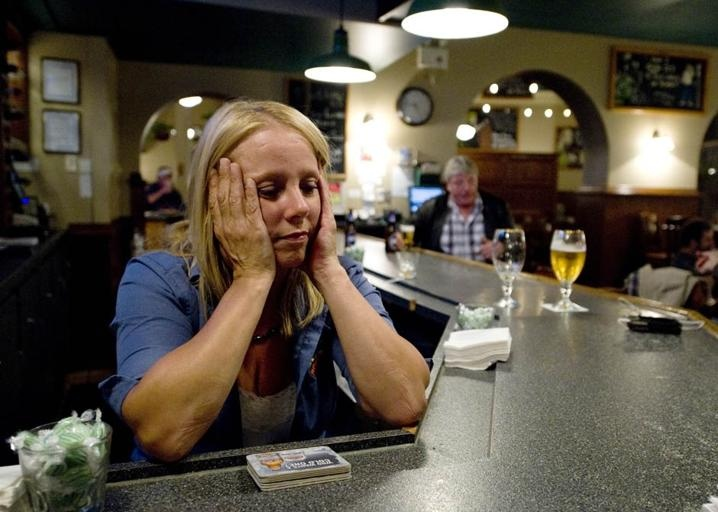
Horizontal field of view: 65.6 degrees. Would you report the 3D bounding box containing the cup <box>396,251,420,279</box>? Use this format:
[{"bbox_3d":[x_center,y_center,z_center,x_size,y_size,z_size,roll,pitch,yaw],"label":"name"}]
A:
[{"bbox_3d":[0.230,0.048,2.741,0.118,0.134,0.115,-1,2,0],"label":"cup"}]

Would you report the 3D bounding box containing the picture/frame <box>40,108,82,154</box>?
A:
[{"bbox_3d":[-1.634,-0.682,3.037,0.029,0.210,0.282,3,6,19],"label":"picture/frame"}]

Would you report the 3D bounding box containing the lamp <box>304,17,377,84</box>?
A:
[{"bbox_3d":[-0.121,-1.387,4.034,0.462,0.524,0.489,-1,-2,1],"label":"lamp"}]

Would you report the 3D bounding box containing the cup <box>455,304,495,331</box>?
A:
[{"bbox_3d":[0.379,0.198,1.833,0.092,0.069,0.087,1,-2,0],"label":"cup"}]

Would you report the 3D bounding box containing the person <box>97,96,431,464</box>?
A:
[{"bbox_3d":[-0.260,0.092,1.453,0.779,0.994,0.646,-6,11,-27],"label":"person"}]

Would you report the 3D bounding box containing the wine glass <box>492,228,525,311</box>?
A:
[{"bbox_3d":[0.604,0.023,2.258,0.115,0.298,0.474,2,10,15],"label":"wine glass"}]

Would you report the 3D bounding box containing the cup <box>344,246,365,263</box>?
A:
[{"bbox_3d":[-0.029,-0.010,3.089,0.087,0.083,0.112,0,4,0],"label":"cup"}]
